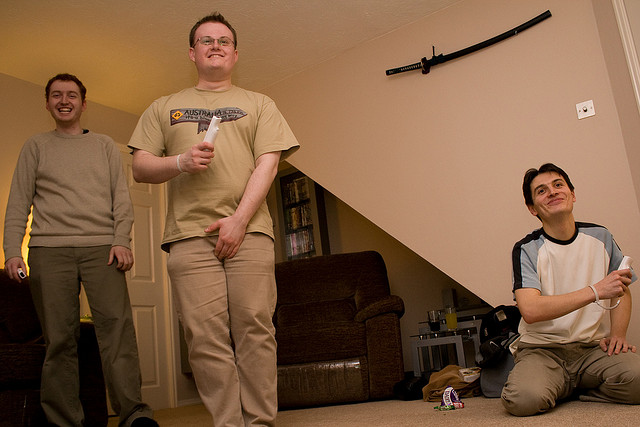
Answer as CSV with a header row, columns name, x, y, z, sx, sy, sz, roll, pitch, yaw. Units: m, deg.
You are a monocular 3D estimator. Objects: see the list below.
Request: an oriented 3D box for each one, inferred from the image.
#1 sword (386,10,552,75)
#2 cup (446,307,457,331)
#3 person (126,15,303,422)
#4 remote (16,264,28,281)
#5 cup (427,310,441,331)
name,x,y,z,sx,sy,sz,roll,pitch,yaw
sword,1.115,-1.268,3.651,1.257,0.165,0.065,-13,-12,24
cup,1.036,0.828,3.704,0.080,0.177,0.137,-14,-12,31
person,-0.493,-0.015,2.275,0.782,2.002,0.385,-9,-11,8
remote,-1.652,0.328,2.629,0.059,0.090,0.045,-5,-11,-12
cup,0.926,0.849,3.785,0.121,0.186,0.119,-1,-16,0
